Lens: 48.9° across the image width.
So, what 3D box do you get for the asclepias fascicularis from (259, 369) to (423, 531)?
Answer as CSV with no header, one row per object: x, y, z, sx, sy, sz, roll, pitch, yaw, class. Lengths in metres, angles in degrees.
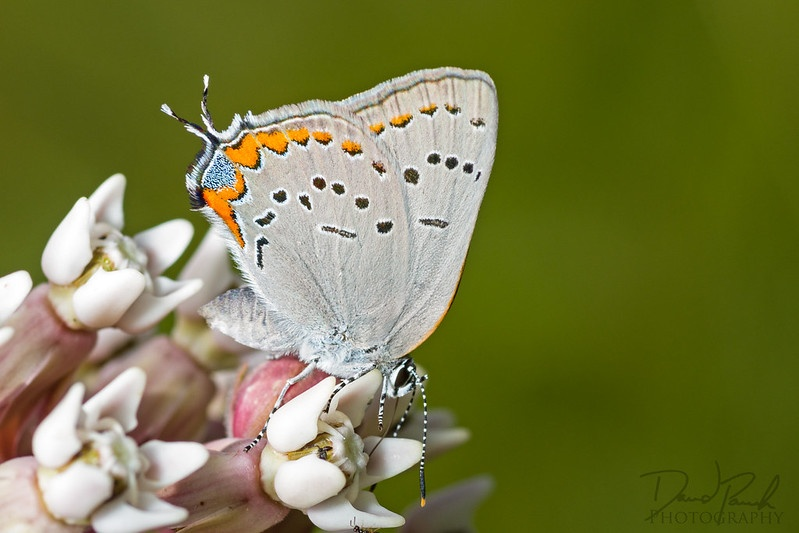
-0.196,0.576,2.753,0.465,0.478,0.296,22,-34,-34,asclepias fascicularis
